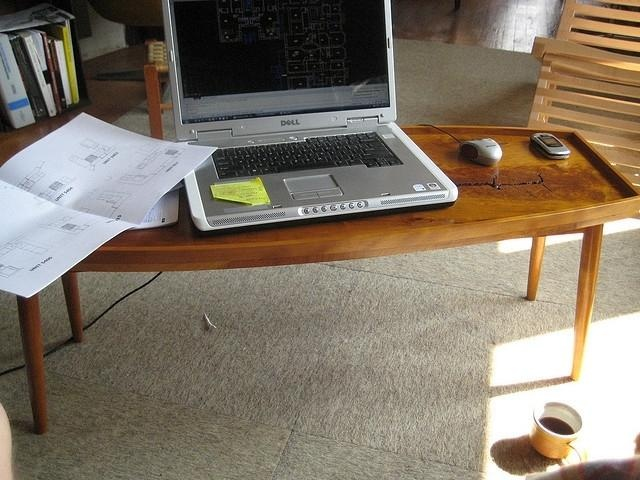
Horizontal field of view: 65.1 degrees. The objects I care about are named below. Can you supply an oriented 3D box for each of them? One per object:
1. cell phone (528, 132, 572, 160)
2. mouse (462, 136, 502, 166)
[{"bbox_3d":[0.596,-0.251,1.305,0.063,0.028,0.102,-23,46,-15],"label":"cell phone"},{"bbox_3d":[0.396,-0.214,1.225,0.062,0.035,0.094,-24,34,-22],"label":"mouse"}]
